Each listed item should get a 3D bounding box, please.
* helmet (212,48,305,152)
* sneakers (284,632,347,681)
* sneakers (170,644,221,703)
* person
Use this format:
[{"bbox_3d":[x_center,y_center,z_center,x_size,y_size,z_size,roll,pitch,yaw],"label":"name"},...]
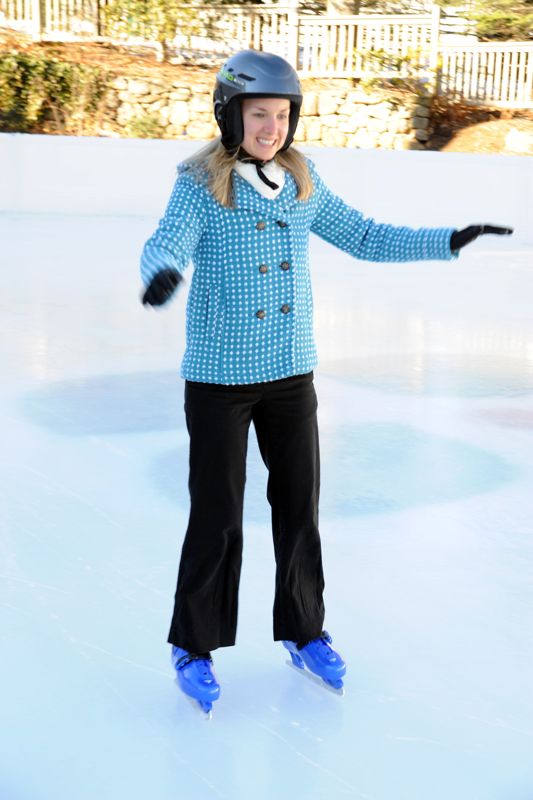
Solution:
[{"bbox_3d":[-0.021,-0.580,1.505,0.162,0.156,0.180,1,25,-11],"label":"helmet"},{"bbox_3d":[0.105,0.551,1.752,0.071,0.075,0.197,0,8,-32],"label":"sneakers"},{"bbox_3d":[-0.153,0.551,1.625,0.055,0.059,0.148,-1,17,-29],"label":"sneakers"},{"bbox_3d":[-0.046,-0.015,1.556,0.594,1.282,0.300,-2,12,-36],"label":"person"}]
